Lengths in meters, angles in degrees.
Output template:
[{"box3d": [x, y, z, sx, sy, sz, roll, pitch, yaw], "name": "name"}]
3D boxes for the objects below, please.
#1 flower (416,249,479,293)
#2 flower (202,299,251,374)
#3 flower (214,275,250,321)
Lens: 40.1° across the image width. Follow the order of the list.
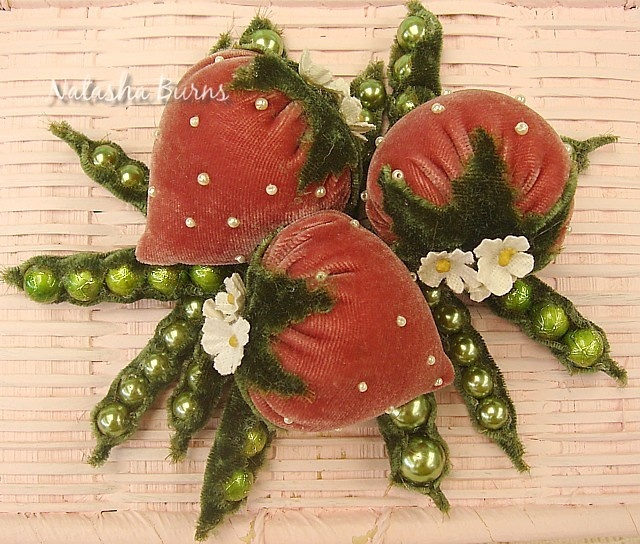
[{"box3d": [0.321, 0.007, 2.235, 0.144, 0.203, 0.094, -7, 79, 0], "name": "flower"}, {"box3d": [-0.234, 0.153, 2.107, 0.176, 0.085, 0.138, 6, 95, 36], "name": "flower"}, {"box3d": [-0.211, 0.062, 2.123, 0.059, 0.115, 0.095, 16, 70, -42], "name": "flower"}]
